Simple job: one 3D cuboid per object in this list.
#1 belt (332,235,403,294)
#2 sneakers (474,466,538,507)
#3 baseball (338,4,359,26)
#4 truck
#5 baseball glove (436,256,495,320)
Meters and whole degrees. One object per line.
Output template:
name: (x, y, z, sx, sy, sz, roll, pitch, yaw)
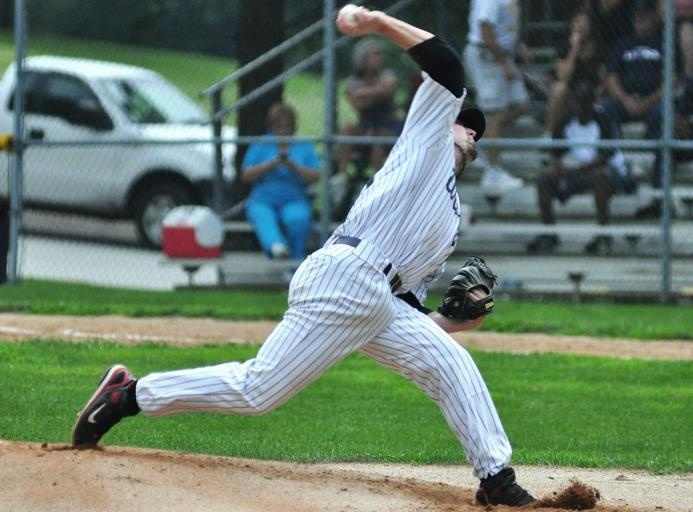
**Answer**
belt: (0.155, 0.047, 9.891, 0.292, 0.406, 0.095, -5, 24, 46)
sneakers: (0.957, 1.432, 10.015, 0.419, 0.293, 0.159, 0, -1, -1)
baseball: (0.003, -1.444, 9.802, 0.130, 0.107, 0.169, 1, 14, -1)
truck: (-1.812, -0.814, 12.764, 1.852, 1.225, 1.155, 1, 7, -2)
baseball glove: (0.840, 0.222, 10.332, 0.395, 0.428, 0.287, -4, 21, -46)
